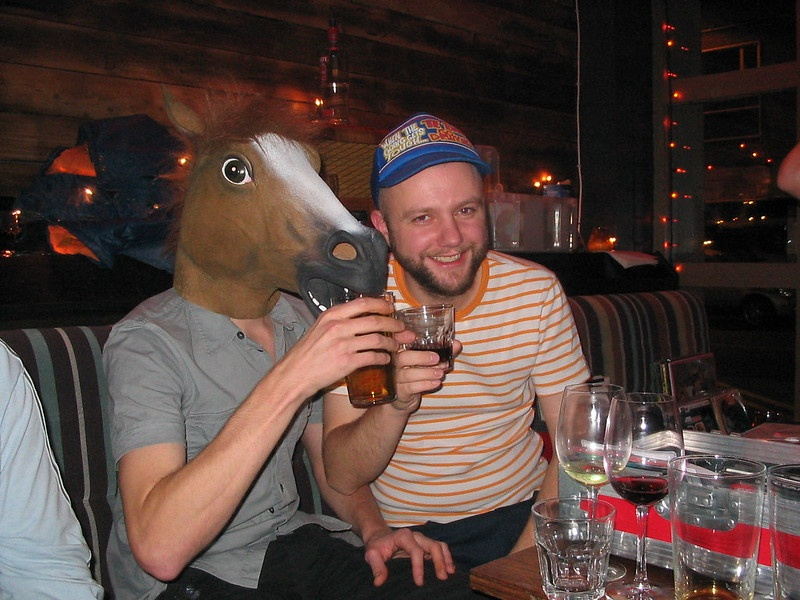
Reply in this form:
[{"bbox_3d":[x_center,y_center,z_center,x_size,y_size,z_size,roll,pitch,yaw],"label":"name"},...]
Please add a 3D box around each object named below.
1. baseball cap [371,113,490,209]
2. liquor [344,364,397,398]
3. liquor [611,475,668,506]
[{"bbox_3d":[0.070,-0.448,2.106,0.270,0.152,0.328,-13,-4,-14],"label":"baseball cap"},{"bbox_3d":[-0.073,0.213,1.732,0.110,0.100,0.106,15,-27,-32],"label":"liquor"},{"bbox_3d":[0.517,0.413,1.421,0.109,0.079,0.070,0,3,3],"label":"liquor"}]
